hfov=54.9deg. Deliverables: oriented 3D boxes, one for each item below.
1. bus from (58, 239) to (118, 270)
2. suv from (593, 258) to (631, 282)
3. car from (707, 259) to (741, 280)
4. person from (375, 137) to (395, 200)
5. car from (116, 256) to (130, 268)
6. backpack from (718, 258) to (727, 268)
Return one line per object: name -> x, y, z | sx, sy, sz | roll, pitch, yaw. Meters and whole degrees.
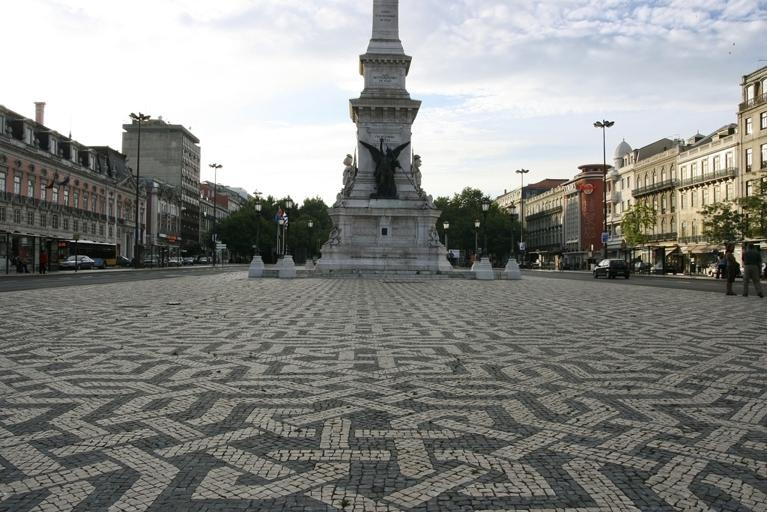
bus -> -23.694, -0.149, 60.370 | 2.394, 2.155, 7.826 | -2, -3, 6
suv -> 14.098, 0.832, 44.818 | 1.325, 0.920, 2.102 | 0, 4, 4
car -> 18.110, 0.723, 38.927 | 1.218, 0.928, 1.985 | -3, -5, 29
person -> 0.316, -4.751, 43.231 | 0.973, 2.739, 0.988 | 0, 12, -1
car -> -24.649, 0.566, 70.267 | 0.893, 1.080, 1.601 | -15, 13, -7
backpack -> 18.332, 0.366, 39.562 | 0.571, 0.678, 0.414 | 1, 5, 15
